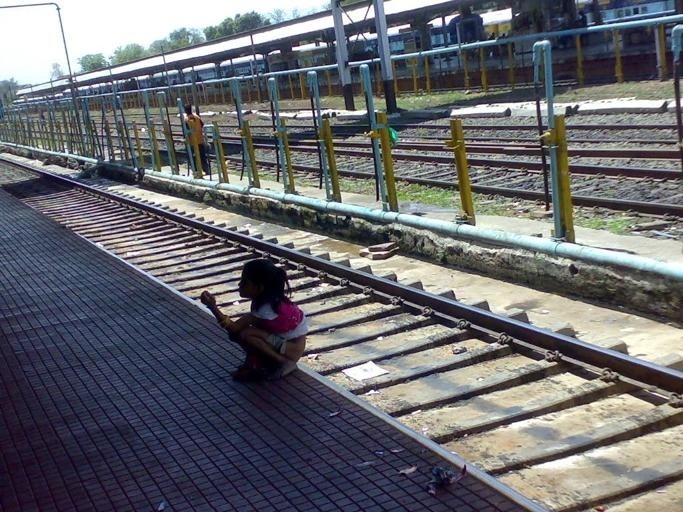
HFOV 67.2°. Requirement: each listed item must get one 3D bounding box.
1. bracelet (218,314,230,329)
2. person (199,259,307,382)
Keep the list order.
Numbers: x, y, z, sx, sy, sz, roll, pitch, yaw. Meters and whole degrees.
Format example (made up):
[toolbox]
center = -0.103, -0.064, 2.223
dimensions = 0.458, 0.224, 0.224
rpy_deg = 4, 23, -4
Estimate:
[bracelet]
center = -0.871, 0.489, 3.847
dimensions = 0.109, 0.059, 0.039
rpy_deg = 0, 5, 40
[person]
center = -0.631, 0.514, 3.979
dimensions = 0.666, 0.999, 0.195
rpy_deg = -16, 23, -18
